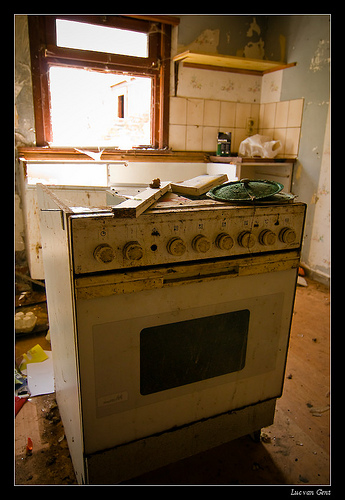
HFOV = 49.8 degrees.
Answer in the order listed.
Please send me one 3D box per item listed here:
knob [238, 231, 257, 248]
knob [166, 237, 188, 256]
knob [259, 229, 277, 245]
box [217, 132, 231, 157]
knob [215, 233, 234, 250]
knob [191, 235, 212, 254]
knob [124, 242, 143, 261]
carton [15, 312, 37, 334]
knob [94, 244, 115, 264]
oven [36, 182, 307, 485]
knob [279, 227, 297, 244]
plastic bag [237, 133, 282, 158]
[{"bbox_3d":[0.200,-0.027,0.984,0.057,0.045,0.018,-9,20,-29],"label":"knob"},{"bbox_3d":[0.011,-0.007,0.882,0.040,0.043,0.016,2,12,-32],"label":"knob"},{"bbox_3d":[0.260,-0.035,0.998,0.039,0.042,0.013,1,16,-20],"label":"knob"},{"bbox_3d":[0.435,-0.902,3.184,0.103,0.182,0.067,5,18,13],"label":"box"},{"bbox_3d":[0.139,-0.025,0.943,0.040,0.043,0.014,-3,17,-24],"label":"knob"},{"bbox_3d":[0.070,-0.014,0.914,0.040,0.044,0.036,-3,19,-24],"label":"knob"},{"bbox_3d":[-0.088,0.003,0.834,0.035,0.038,0.013,-4,17,-32],"label":"knob"},{"bbox_3d":[-0.837,0.394,2.106,0.093,0.053,0.139,-5,15,-19],"label":"carton"},{"bbox_3d":[-0.147,0.010,0.802,0.037,0.040,0.013,7,9,-38],"label":"knob"},{"bbox_3d":[0.018,0.149,1.298,0.615,0.889,0.607,-8,33,-17],"label":"oven"},{"bbox_3d":[0.323,-0.039,1.033,0.041,0.044,0.014,2,12,-23],"label":"knob"},{"bbox_3d":[0.724,-0.885,3.203,0.230,0.170,0.315,-4,16,-4],"label":"plastic bag"}]
